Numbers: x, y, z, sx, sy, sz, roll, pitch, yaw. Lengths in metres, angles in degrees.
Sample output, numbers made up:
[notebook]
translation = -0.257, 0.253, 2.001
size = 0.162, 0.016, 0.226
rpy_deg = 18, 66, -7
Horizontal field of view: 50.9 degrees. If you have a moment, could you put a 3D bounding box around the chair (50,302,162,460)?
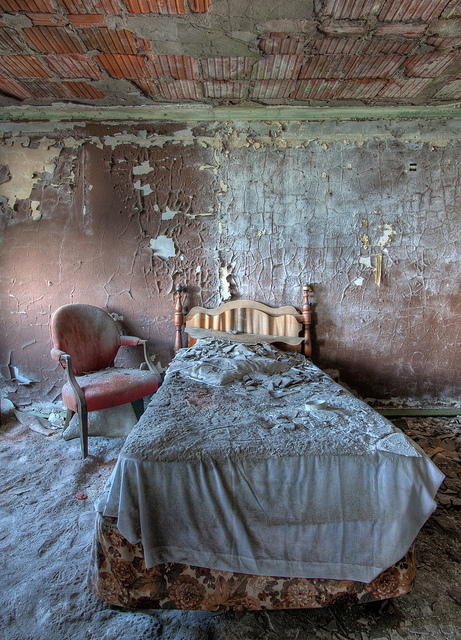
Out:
[chair]
translation = -0.772, 0.325, 3.015
size = 0.635, 0.789, 0.616
rpy_deg = -7, 10, -25

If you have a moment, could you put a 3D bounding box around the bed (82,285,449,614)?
[bed]
translation = 0.077, 0.378, 2.460
size = 1.231, 0.963, 1.831
rpy_deg = -1, 8, -1
